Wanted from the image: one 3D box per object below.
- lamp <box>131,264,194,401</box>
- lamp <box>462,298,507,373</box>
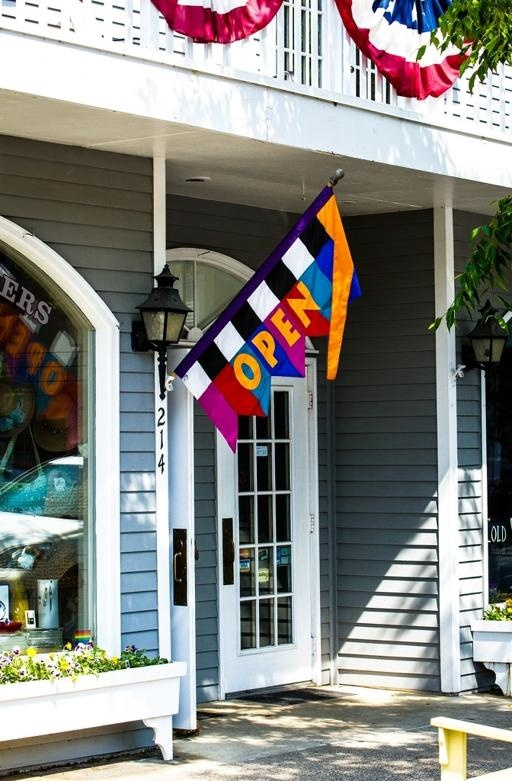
[{"bbox_3d":[-0.472,-0.298,6.053,0.267,0.674,0.288,3,-4,-37],"label":"lamp"},{"bbox_3d":[1.427,-0.336,7.638,0.240,0.627,0.277,-11,-18,43],"label":"lamp"}]
